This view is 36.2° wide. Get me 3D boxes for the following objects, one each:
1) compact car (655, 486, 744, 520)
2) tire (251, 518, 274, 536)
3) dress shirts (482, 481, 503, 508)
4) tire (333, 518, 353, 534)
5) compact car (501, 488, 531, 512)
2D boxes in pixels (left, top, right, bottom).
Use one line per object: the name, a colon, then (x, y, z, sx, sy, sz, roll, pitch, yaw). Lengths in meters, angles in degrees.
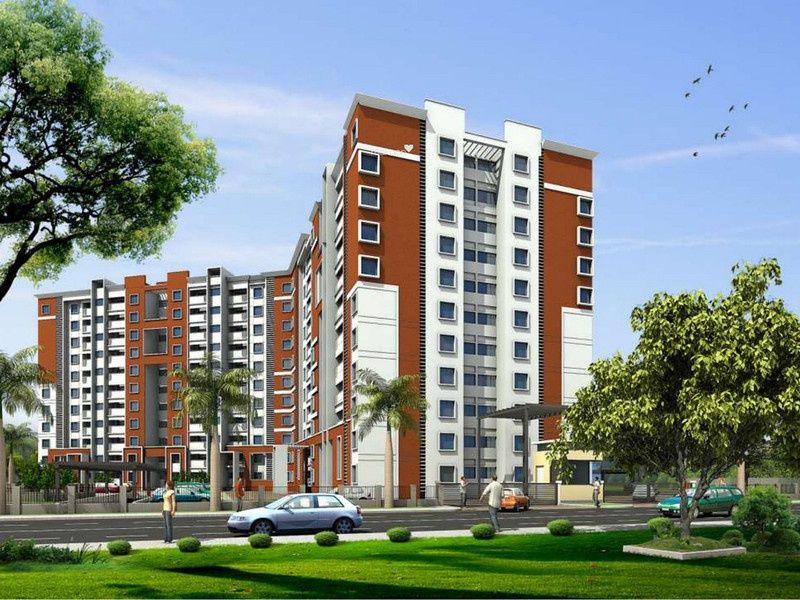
compact car: (17.181, 11.465, 69.510, 5.144, 1.885, 2.716, 13, -20, -41)
tire: (-6.456, 10.508, 56.889, 0.818, 0.843, 0.272, 1, -1, -8)
dress shirts: (4.423, 9.144, 57.800, 0.653, 1.296, 1.053, 0, -15, -1)
tire: (-2.762, 10.635, 57.761, 0.718, 0.739, 0.240, 0, -7, -10)
compact car: (7.094, 12.197, 75.263, 1.362, 1.103, 3.314, -4, -4, 21)
